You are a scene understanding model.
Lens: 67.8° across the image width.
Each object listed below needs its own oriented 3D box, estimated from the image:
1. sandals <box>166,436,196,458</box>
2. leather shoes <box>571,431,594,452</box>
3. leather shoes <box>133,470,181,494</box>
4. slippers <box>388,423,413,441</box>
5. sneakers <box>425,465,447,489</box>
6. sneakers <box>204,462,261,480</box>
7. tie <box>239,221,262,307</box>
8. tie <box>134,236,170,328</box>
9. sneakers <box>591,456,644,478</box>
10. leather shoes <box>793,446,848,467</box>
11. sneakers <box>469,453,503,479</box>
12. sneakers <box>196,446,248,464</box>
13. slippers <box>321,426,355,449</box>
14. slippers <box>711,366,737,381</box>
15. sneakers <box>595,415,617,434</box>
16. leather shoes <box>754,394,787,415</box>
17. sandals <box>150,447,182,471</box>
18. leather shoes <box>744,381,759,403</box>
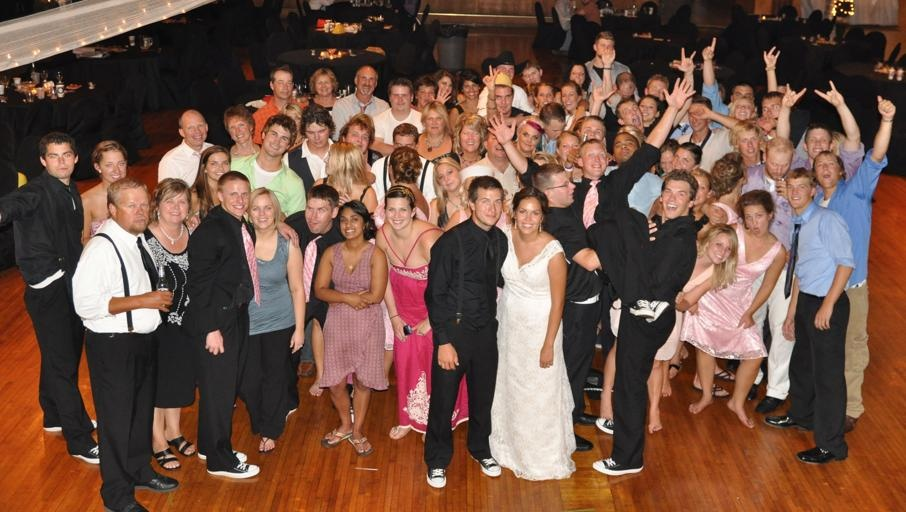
[{"bbox_3d":[-2.635,1.867,6.558,0.303,0.106,0.138,18,37,19],"label":"sandals"},{"bbox_3d":[1.301,1.862,6.759,0.289,0.188,0.091,0,48,10],"label":"leather shoes"},{"bbox_3d":[-2.723,2.105,6.245,0.420,0.123,0.168,9,45,-8],"label":"leather shoes"},{"bbox_3d":[-0.545,1.784,6.822,0.237,0.107,0.096,-23,-3,5],"label":"slippers"},{"bbox_3d":[-0.153,2.086,6.350,0.203,0.160,0.162,-3,19,-6],"label":"sneakers"},{"bbox_3d":[-2.108,2.044,6.433,0.473,0.175,0.179,-3,26,-5],"label":"sneakers"},{"bbox_3d":[-1.831,0.107,6.168,0.116,0.632,0.076,-24,24,-35],"label":"tie"},{"bbox_3d":[-2.647,0.066,5.932,0.251,0.469,0.162,15,26,40],"label":"tie"},{"bbox_3d":[1.549,2.043,6.455,0.501,0.184,0.180,6,8,-2],"label":"sneakers"},{"bbox_3d":[3.566,1.969,6.633,0.509,0.200,0.176,4,43,1],"label":"leather shoes"},{"bbox_3d":[0.339,2.018,6.485,0.127,0.108,0.303,-7,13,-30],"label":"sneakers"},{"bbox_3d":[-2.172,1.928,6.434,0.509,0.190,0.173,-2,40,-4],"label":"sneakers"},{"bbox_3d":[-1.145,1.810,6.691,0.314,0.089,0.146,-14,51,-13],"label":"slippers"},{"bbox_3d":[3.035,1.343,7.602,0.287,0.082,0.156,14,47,15],"label":"slippers"},{"bbox_3d":[1.556,1.747,6.901,0.241,0.100,0.102,33,22,-4],"label":"sneakers"},{"bbox_3d":[3.333,1.598,7.193,0.376,0.134,0.163,-16,-13,-5],"label":"leather shoes"},{"bbox_3d":[-2.744,1.931,6.415,0.345,0.096,0.132,28,44,33],"label":"sandals"},{"bbox_3d":[3.228,1.502,7.339,0.109,0.119,0.288,17,67,35],"label":"leather shoes"}]
